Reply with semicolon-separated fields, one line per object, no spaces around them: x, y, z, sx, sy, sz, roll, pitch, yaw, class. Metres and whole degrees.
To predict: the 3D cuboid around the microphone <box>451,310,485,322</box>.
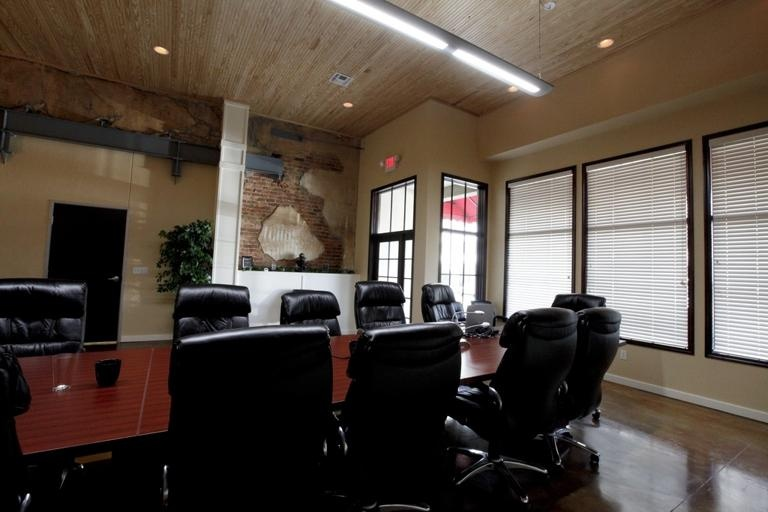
1.043;0.738;5.966;0.244;0.102;0.238;-6;-10;30;microphone
